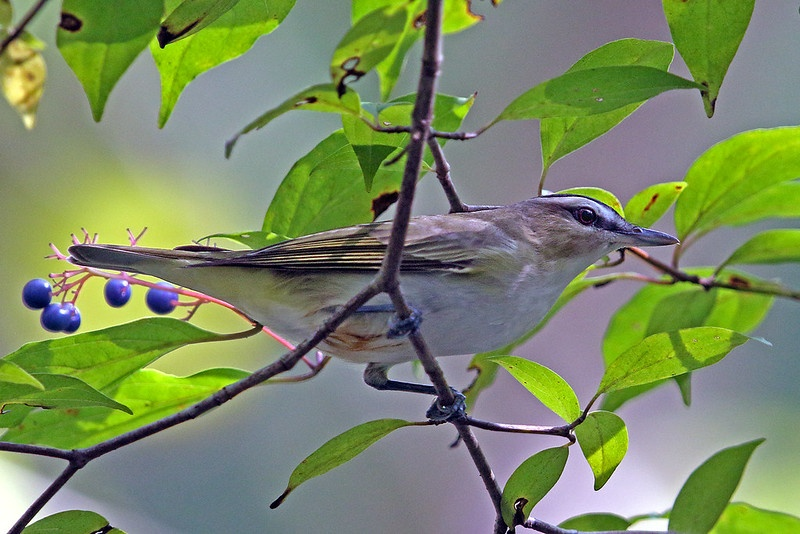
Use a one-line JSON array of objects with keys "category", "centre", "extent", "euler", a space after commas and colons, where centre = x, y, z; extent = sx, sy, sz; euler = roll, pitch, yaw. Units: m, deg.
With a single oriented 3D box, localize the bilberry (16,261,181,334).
[{"category": "bilberry", "centre": [-0.918, 0.102, 2.712], "extent": [0.288, 0.482, 0.289], "euler": [-3, -88, 30]}]
